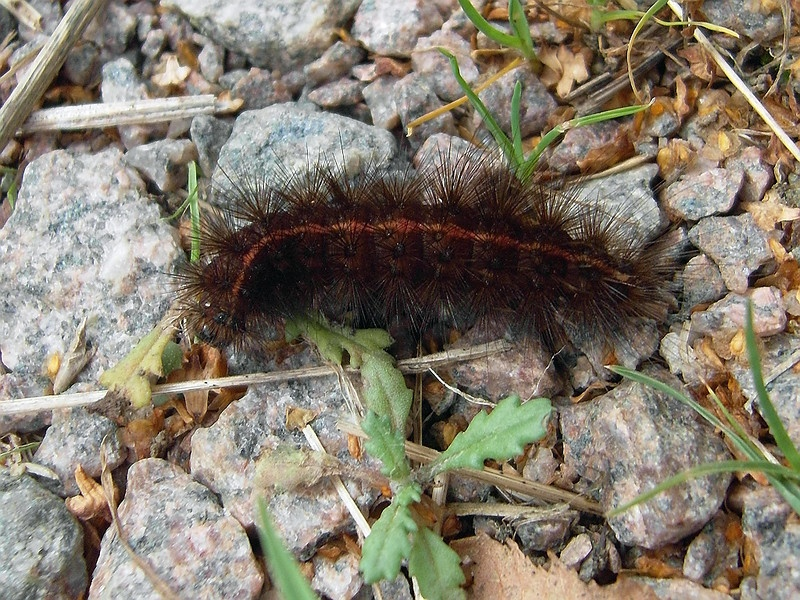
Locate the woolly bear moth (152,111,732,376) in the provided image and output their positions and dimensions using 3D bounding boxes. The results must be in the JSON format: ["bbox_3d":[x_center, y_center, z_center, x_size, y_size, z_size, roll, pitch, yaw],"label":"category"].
[{"bbox_3d":[0.188,-0.223,4.633,2.883,0.687,1.086,3,69,-1],"label":"woolly bear moth"}]
